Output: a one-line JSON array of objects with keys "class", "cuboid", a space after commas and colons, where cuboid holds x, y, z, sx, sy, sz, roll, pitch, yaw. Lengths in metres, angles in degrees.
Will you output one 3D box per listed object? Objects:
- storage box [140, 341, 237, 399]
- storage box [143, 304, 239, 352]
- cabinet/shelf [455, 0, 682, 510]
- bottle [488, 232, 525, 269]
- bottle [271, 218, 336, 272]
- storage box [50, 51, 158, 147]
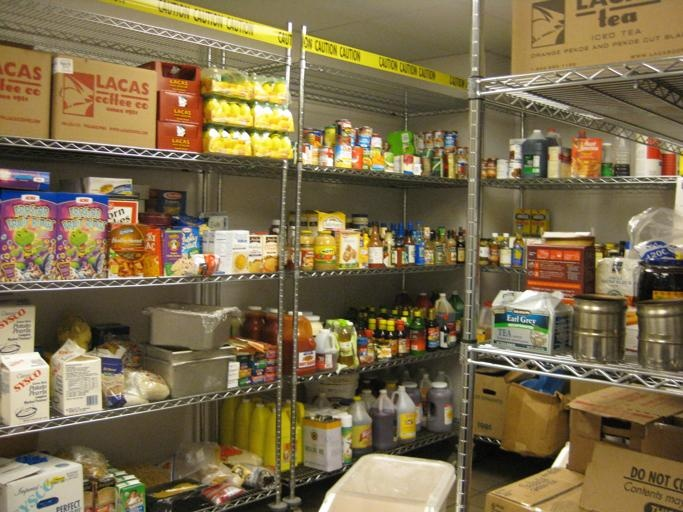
[{"class": "storage box", "cuboid": [-0.781, 0.562, 2.979, 0.421, 0.149, 0.320, 0, 1, -37]}, {"class": "storage box", "cuboid": [-0.799, 0.366, 2.983, 0.364, 0.103, 0.247, 2, 1, 21]}, {"class": "cabinet/shelf", "cuboid": [0.526, 0.008, 1.651, 0.181, 1.566, 0.503, -3, 4, -37]}, {"class": "bottle", "cuboid": [1.122, -0.025, 3.914, 0.124, 0.240, 0.330, 4, -2, -44]}, {"class": "bottle", "cuboid": [-0.222, -0.050, 3.316, 0.406, 0.241, 0.135, -3, 4, -44]}, {"class": "storage box", "cuboid": [-0.963, -0.693, 2.623, 0.585, 0.359, 0.272, 13, 17, 18]}]
